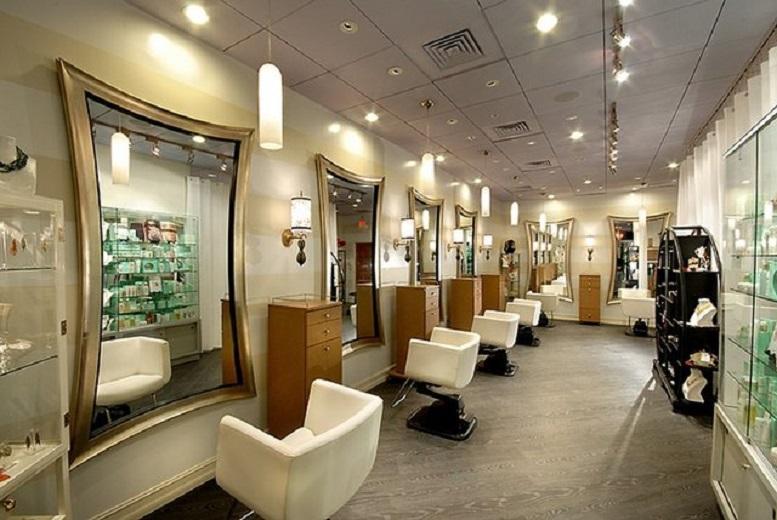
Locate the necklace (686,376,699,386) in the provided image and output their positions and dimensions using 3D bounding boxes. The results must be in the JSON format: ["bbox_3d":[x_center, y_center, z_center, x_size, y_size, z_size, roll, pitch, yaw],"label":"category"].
[{"bbox_3d":[3.825,1.540,6.200,0.092,0.044,0.090,22,-28,-9],"label":"necklace"}]

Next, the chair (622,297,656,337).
[{"bbox_3d":[5.151,1.087,10.094,0.685,0.862,0.698,4,4,34],"label":"chair"}]

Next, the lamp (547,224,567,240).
[{"bbox_3d":[4.207,-0.694,12.264,0.359,0.358,0.366,-8,10,-9],"label":"lamp"}]

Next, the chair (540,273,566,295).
[{"bbox_3d":[4.141,0.622,12.290,0.593,0.459,0.770,-2,-1,21],"label":"chair"}]

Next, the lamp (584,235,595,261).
[{"bbox_3d":[4.719,-0.284,11.523,0.205,0.601,0.333,-2,0,22],"label":"lamp"}]
